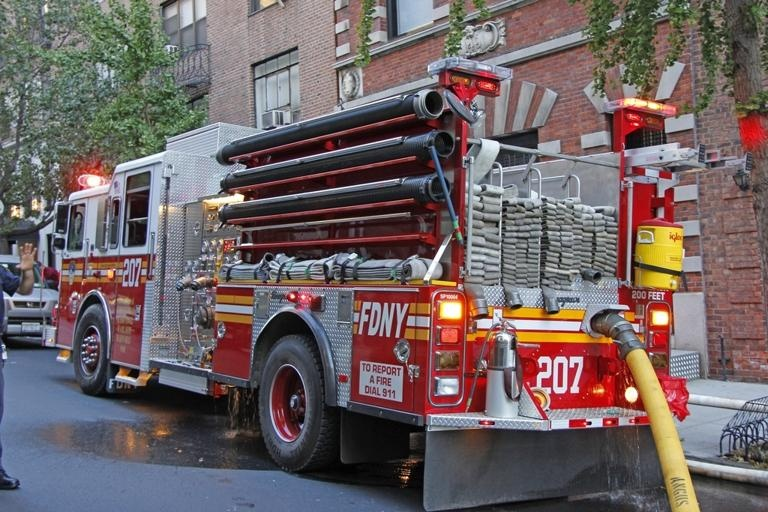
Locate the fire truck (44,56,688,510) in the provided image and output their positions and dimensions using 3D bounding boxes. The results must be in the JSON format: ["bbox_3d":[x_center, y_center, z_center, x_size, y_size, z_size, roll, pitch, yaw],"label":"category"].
[{"bbox_3d":[-0.843,0.526,10.127,4.860,3.858,8.688,6,-4,-36],"label":"fire truck"}]
